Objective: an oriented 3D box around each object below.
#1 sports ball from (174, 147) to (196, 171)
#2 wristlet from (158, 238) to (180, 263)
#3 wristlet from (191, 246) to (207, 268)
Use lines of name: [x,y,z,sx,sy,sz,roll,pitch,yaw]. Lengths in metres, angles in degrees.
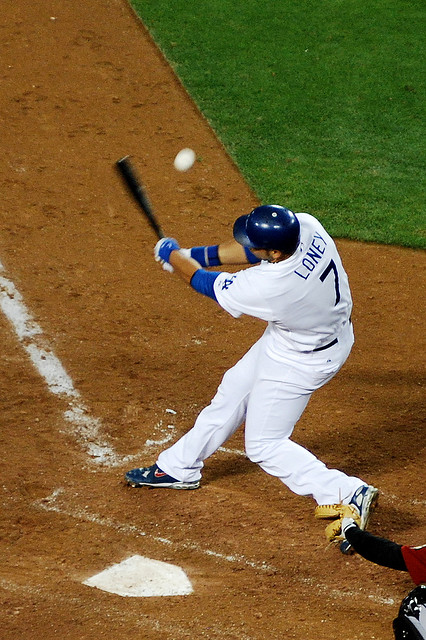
sports ball: [-0.248,-1.346,8.661,0.185,0.150,0.279,23,25,1]
wristlet: [-0.267,-0.425,6.238,0.107,0.099,0.161,20,61,26]
wristlet: [-0.083,-0.386,6.326,0.087,0.152,0.146,-9,53,8]
